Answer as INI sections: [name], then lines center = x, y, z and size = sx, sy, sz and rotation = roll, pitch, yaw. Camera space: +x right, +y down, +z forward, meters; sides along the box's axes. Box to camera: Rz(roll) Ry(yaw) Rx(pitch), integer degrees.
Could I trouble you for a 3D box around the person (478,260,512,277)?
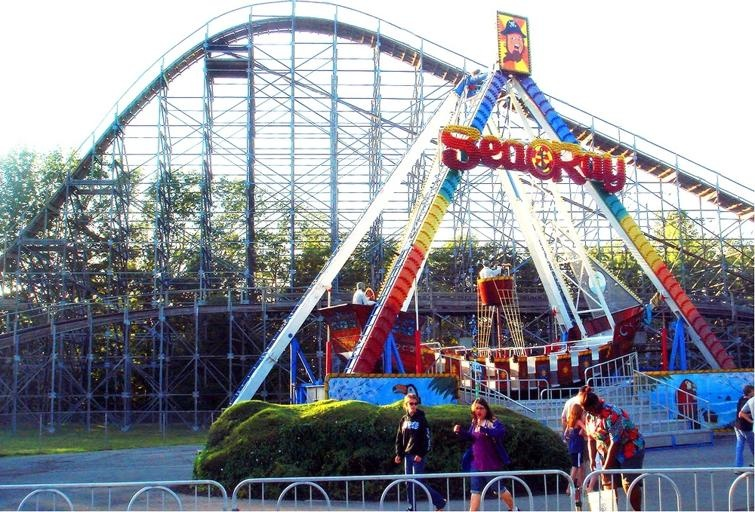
[person]
center = 4.922, 0.622, 52.497
size = 1.379, 0.750, 1.127
rotation = -6, 1, -23
